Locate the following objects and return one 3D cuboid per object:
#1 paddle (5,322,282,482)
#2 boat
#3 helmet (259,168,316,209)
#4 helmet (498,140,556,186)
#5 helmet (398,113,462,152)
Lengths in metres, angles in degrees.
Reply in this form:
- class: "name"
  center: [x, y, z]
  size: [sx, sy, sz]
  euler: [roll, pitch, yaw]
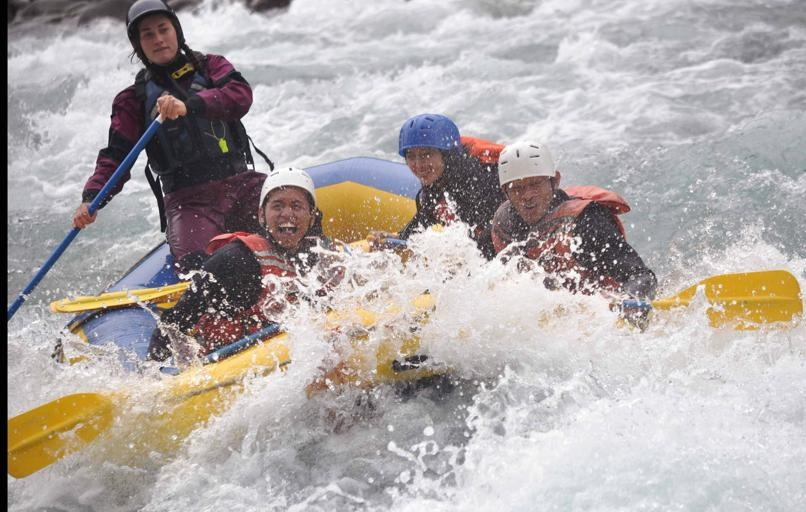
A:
- class: "paddle"
  center: [-1.897, 1.024, 7.243]
  size: [2.876, 0.381, 0.703]
  euler: [-18, 100, -13]
- class: "boat"
  center: [-1.371, 0.791, 7.483]
  size: [4.242, 0.713, 2.108]
  euler: [-23, 78, -10]
- class: "helmet"
  center: [-0.967, -0.593, 7.747]
  size: [0.393, 0.491, 0.364]
  euler: [0, 82, -6]
- class: "helmet"
  center: [1.068, -0.737, 7.703]
  size: [0.343, 0.426, 0.304]
  euler: [-11, 63, 15]
- class: "helmet"
  center: [0.236, -1.124, 8.355]
  size: [0.505, 0.653, 0.342]
  euler: [-4, 86, 27]
